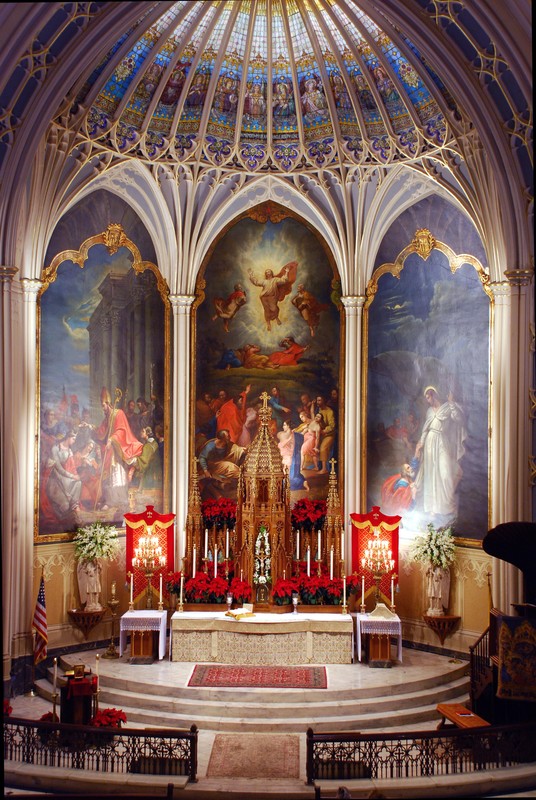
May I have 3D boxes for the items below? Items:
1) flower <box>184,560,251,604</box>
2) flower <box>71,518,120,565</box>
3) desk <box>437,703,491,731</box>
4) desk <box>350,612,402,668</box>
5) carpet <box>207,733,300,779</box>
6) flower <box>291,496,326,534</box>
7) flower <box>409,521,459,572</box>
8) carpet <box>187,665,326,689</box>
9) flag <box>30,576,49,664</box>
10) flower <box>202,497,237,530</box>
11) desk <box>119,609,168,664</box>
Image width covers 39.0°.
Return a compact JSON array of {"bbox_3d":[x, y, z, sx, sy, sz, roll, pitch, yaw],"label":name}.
[{"bbox_3d":[-0.855,3.124,12.950,0.657,0.290,0.667,2,-1,41],"label":"flower"},{"bbox_3d":[-2.999,2.553,13.417,0.743,0.726,0.766,-9,-17,-1],"label":"flower"},{"bbox_3d":[2.338,3.945,9.213,0.420,0.257,1.149,0,-10,-2],"label":"desk"},{"bbox_3d":[1.733,3.856,12.295,0.866,0.871,0.888,0,-9,1],"label":"desk"},{"bbox_3d":[-0.142,4.217,8.974,1.098,0.127,1.517,0,-11,-1],"label":"carpet"},{"bbox_3d":[0.779,2.251,14.651,0.643,0.623,0.501,-1,-10,5],"label":"flower"},{"bbox_3d":[2.897,2.601,13.329,0.788,0.827,0.769,0,-9,10],"label":"flower"},{"bbox_3d":[-0.146,4.176,11.408,2.008,0.173,1.209,0,-11,1],"label":"carpet"},{"bbox_3d":[-3.391,3.369,11.283,0.223,1.306,1.475,3,-11,-16],"label":"flag"},{"bbox_3d":[-0.950,2.200,14.490,0.535,0.338,0.542,8,33,-12],"label":"flower"},{"bbox_3d":[-2.037,3.844,12.217,0.771,0.753,0.799,0,-7,2],"label":"desk"}]
